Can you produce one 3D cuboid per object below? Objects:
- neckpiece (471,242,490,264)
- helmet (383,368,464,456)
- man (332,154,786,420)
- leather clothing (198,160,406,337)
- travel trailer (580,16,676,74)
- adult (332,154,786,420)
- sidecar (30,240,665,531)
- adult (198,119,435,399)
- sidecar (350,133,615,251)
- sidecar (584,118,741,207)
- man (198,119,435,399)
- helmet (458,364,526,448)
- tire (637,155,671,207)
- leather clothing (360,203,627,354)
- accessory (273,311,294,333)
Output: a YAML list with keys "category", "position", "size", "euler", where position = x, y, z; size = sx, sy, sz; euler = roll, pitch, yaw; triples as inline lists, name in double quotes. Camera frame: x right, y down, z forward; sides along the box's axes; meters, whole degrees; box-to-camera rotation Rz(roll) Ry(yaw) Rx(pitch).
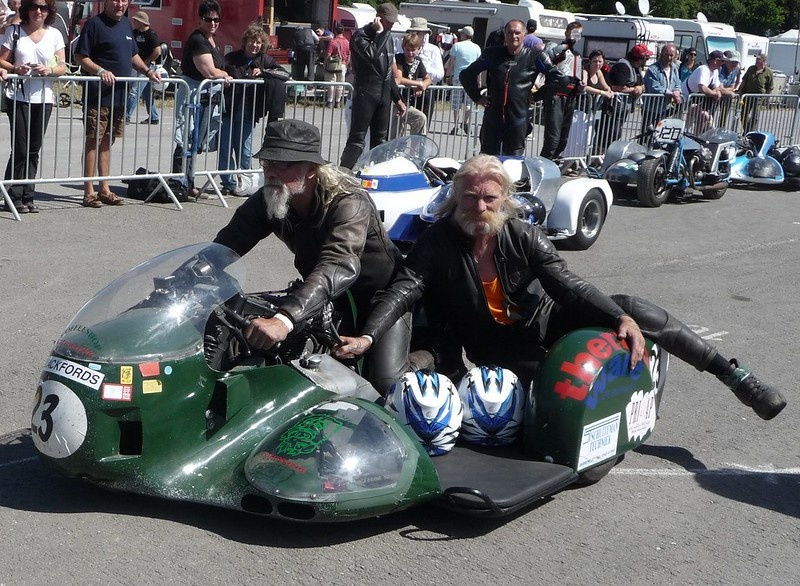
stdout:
- category: "neckpiece"
  position: [0.475, -0.231, 4.353]
  size: [0.077, 0.114, 0.038]
  euler: [3, 11, 3]
- category: "helmet"
  position: [0.136, 0.618, 3.868]
  size: [0.344, 0.432, 0.327]
  euler: [1, 5, -2]
- category: "man"
  position: [0.907, 0.210, 4.506]
  size: [1.596, 1.262, 2.150]
  euler: [22, 27, 40]
- category: "leather clothing"
  position: [-0.610, -0.214, 4.387]
  size: [1.101, 1.023, 1.389]
  euler: [1, 17, 8]
- category: "travel trailer"
  position: [8.008, -8.801, 26.996]
  size: [2.956, 1.768, 2.097]
  euler: [16, 24, 37]
- category: "adult"
  position: [0.969, -0.044, 4.381]
  size: [2.756, 1.299, 1.104]
  euler: [10, 13, 6]
- category: "sidecar"
  position: [-0.364, 0.583, 3.631]
  size: [2.088, 0.784, 1.679]
  euler: [2, 7, -37]
- category: "adult"
  position: [-0.525, -0.051, 4.460]
  size: [0.993, 1.825, 1.651]
  euler: [12, 16, 39]
- category: "sidecar"
  position: [0.894, -1.075, 7.900]
  size: [2.148, 0.767, 1.584]
  euler: [0, 6, -41]
- category: "sidecar"
  position: [4.441, -2.036, 12.355]
  size: [2.316, 1.127, 1.409]
  euler: [-3, 5, -38]
- category: "man"
  position: [-0.551, -0.085, 4.443]
  size: [1.003, 1.846, 1.647]
  euler: [11, 16, 35]
- category: "helmet"
  position: [0.535, 0.653, 4.188]
  size: [0.383, 0.454, 0.488]
  euler: [-4, -6, 22]
- category: "tire"
  position: [3.971, -1.782, 11.684]
  size: [0.227, 0.707, 0.606]
  euler: [1, 18, 38]
- category: "leather clothing"
  position: [0.561, 0.103, 4.556]
  size: [1.331, 0.812, 0.713]
  euler: [-8, 3, 3]
- category: "accessory"
  position: [-0.567, 0.144, 3.643]
  size: [0.083, 0.090, 0.060]
  euler: [14, 48, 39]
